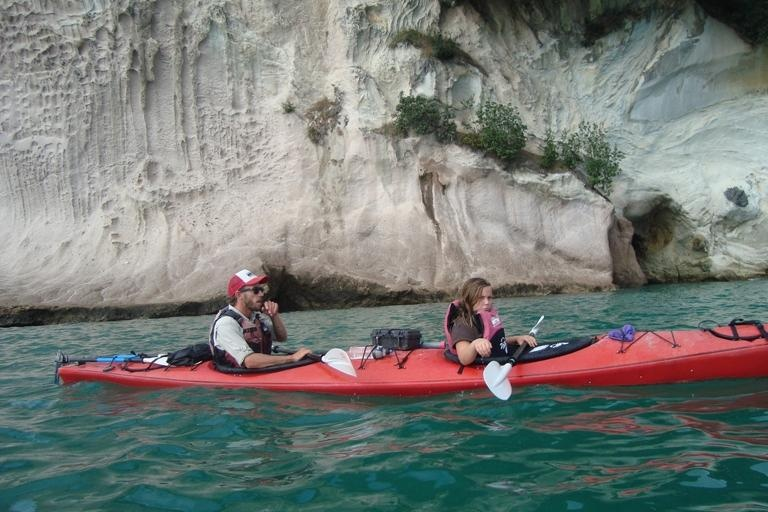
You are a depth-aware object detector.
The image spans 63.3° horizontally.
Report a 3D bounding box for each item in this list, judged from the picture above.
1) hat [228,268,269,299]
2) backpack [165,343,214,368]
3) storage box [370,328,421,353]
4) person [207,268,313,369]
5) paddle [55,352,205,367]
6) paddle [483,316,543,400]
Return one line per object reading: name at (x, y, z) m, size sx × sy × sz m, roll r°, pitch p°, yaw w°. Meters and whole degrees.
hat at (-2.236, 0.432, 9.763) m, size 0.706 × 0.302 × 0.396 m, roll -23°, pitch -1°, yaw 0°
backpack at (-3.155, 1.611, 10.105) m, size 0.545 × 0.166 × 0.392 m, roll -7°, pitch 2°, yaw -3°
storage box at (0.257, 1.302, 9.834) m, size 0.556 × 0.209 × 0.456 m, roll 0°, pitch -2°, yaw 21°
person at (-1.997, 1.076, 9.909) m, size 1.813 × 1.355 × 1.188 m, roll 1°, pitch 7°, yaw 21°
paddle at (-4.164, 1.717, 10.361) m, size 1.832 × 0.205 × 0.471 m, roll 0°, pitch 8°, yaw 3°
paddle at (1.992, 1.429, 9.065) m, size 0.544 × 0.117 × 1.713 m, roll 29°, pitch 49°, yaw 28°
